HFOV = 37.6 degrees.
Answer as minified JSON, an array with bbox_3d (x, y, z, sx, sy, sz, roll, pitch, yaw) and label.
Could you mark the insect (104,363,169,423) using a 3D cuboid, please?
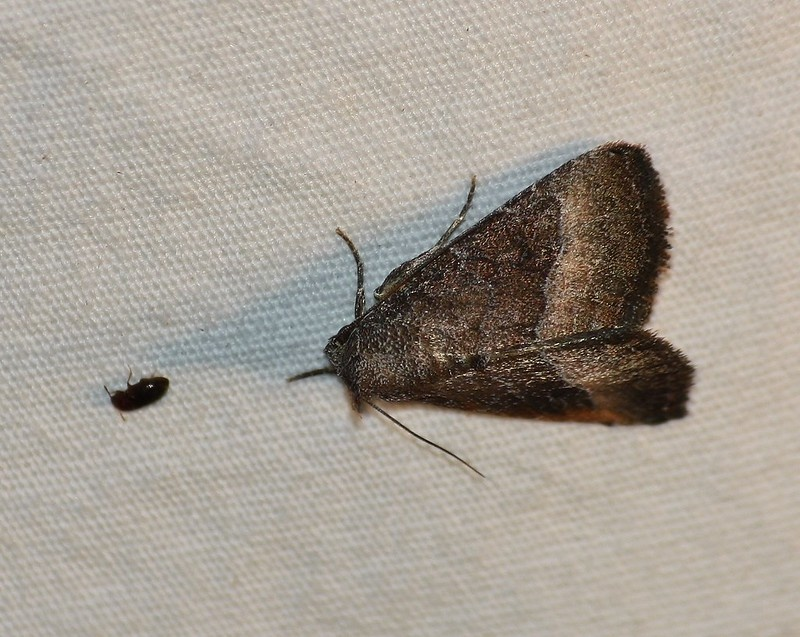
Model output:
[{"bbox_3d":[-0.663,0.199,3.000,0.111,0.046,0.141,29,80,4],"label":"insect"}]
